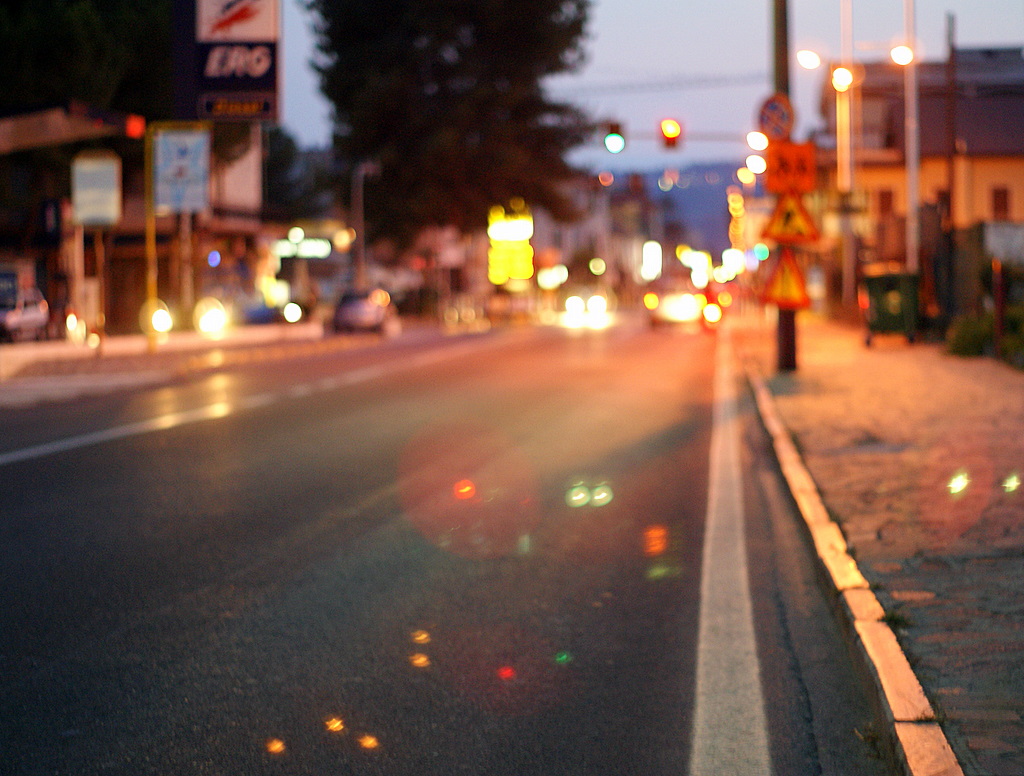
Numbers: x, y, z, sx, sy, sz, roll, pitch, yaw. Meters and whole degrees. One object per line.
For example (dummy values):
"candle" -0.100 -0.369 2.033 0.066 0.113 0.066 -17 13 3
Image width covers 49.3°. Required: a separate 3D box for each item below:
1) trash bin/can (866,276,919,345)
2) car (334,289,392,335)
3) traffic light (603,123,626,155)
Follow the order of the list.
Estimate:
"trash bin/can" 9.319 -1.976 27.265 1.152 2.306 1.414 0 0 12
"car" -5.658 -3.033 43.986 1.955 1.793 2.610 6 11 33
"traffic light" 3.650 -9.020 39.759 0.575 0.981 0.922 1 8 5
